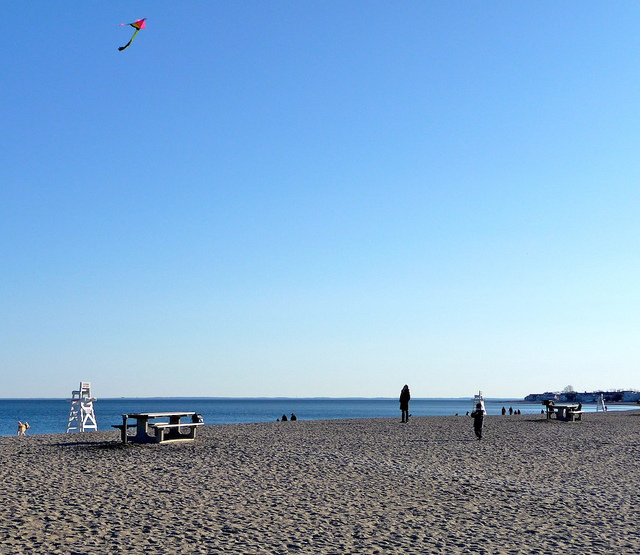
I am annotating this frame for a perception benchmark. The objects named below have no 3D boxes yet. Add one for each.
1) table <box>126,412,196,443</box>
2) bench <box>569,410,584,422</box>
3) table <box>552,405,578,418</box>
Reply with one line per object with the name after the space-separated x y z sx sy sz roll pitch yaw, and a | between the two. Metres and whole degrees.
-5.127 4.772 22.140 1.825 0.967 3.658 -1 -13 -1 | table
14.965 8.160 40.756 0.794 0.852 1.592 -1 -7 24 | bench
14.155 7.613 39.925 1.114 0.631 1.227 1 -12 9 | table
